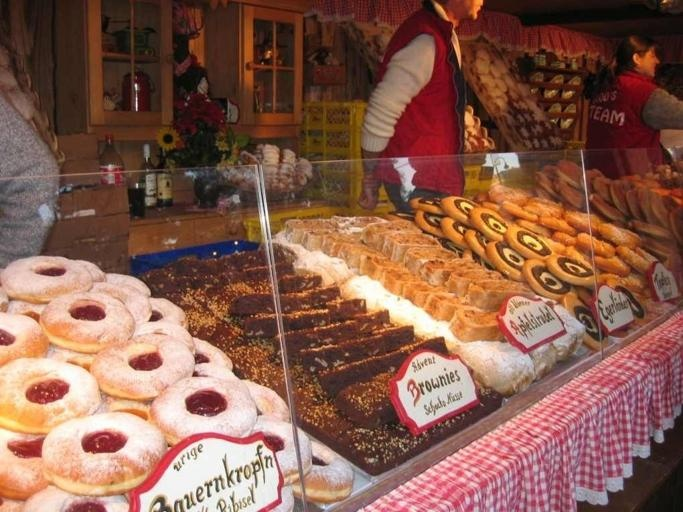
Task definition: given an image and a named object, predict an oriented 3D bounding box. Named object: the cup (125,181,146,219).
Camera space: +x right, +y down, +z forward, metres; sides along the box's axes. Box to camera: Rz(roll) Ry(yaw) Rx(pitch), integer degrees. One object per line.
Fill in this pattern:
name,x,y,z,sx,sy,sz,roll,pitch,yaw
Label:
cup,-0.351,-0.098,0.870,0.029,0.051,0.098,-6,25,-20
